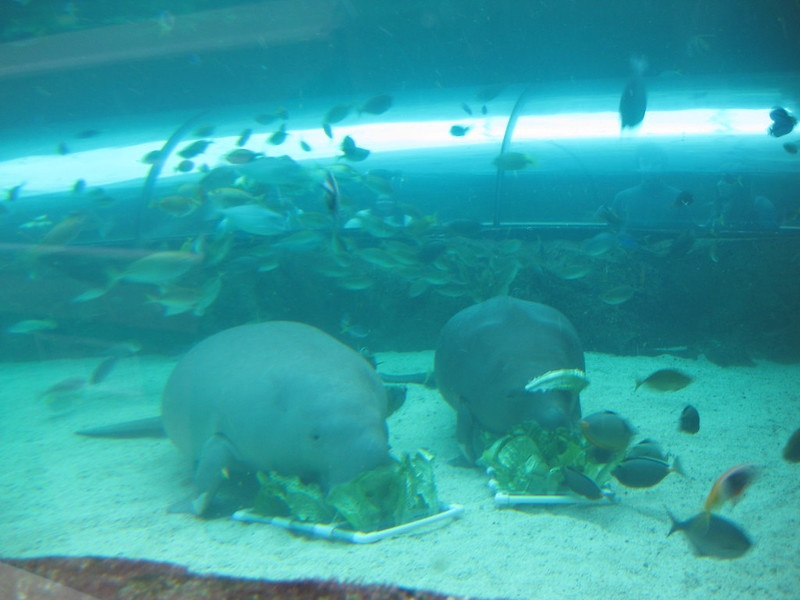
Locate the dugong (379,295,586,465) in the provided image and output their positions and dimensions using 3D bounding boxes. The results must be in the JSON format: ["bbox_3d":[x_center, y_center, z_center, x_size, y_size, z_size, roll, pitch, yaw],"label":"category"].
[{"bbox_3d":[0.911,0.478,5.652,1.345,0.920,1.480,-18,17,-18],"label":"dugong"}]

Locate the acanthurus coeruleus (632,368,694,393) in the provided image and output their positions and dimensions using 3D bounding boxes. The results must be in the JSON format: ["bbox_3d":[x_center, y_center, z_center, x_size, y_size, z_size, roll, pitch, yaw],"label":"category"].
[{"bbox_3d":[1.645,0.499,4.796,0.331,0.113,0.150,-8,-25,43],"label":"acanthurus coeruleus"}]
